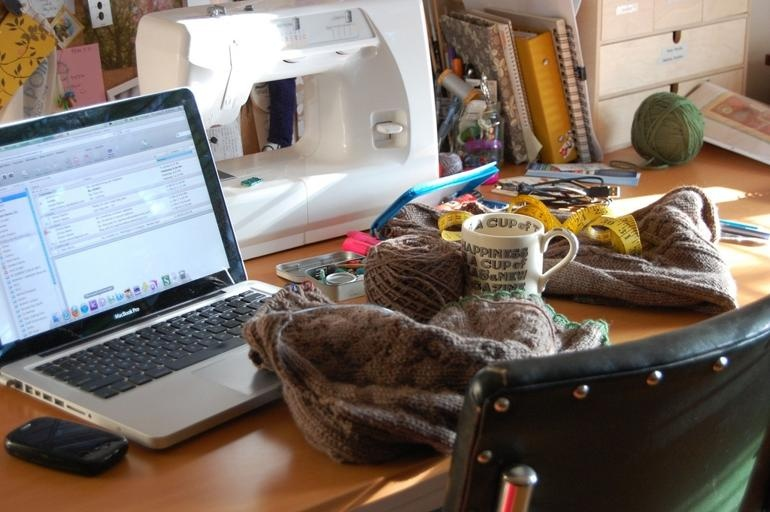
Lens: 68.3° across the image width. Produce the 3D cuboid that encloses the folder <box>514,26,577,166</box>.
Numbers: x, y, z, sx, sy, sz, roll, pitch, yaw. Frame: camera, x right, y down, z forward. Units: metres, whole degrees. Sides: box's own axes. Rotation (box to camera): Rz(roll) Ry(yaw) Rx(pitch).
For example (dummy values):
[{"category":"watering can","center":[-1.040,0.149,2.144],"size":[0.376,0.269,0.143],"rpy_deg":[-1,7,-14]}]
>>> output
[{"category":"folder","center":[0.390,-0.398,1.366],"size":[0.115,0.317,0.250],"rpy_deg":[-18,23,-6]}]

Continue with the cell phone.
[{"category":"cell phone","center":[-0.321,0.191,0.574],"size":[0.122,0.034,0.042],"rpy_deg":[4,25,17]}]

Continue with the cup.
[{"category":"cup","center":[0.160,-0.011,0.766],"size":[0.147,0.116,0.173],"rpy_deg":[6,25,13]}]
